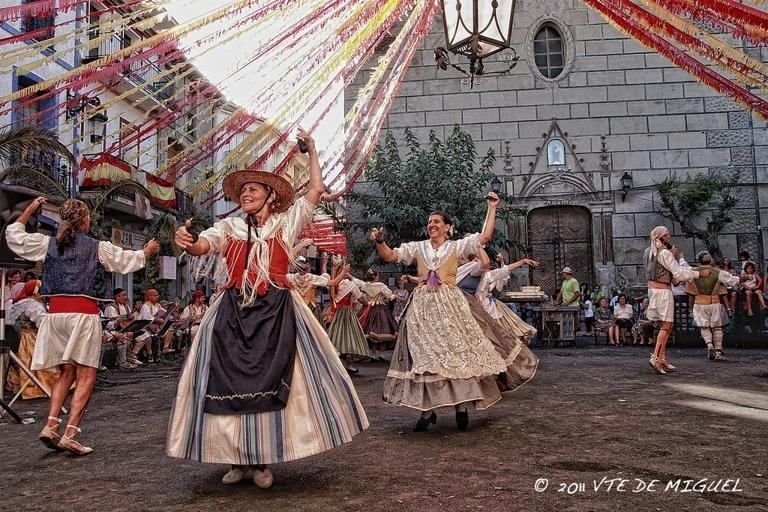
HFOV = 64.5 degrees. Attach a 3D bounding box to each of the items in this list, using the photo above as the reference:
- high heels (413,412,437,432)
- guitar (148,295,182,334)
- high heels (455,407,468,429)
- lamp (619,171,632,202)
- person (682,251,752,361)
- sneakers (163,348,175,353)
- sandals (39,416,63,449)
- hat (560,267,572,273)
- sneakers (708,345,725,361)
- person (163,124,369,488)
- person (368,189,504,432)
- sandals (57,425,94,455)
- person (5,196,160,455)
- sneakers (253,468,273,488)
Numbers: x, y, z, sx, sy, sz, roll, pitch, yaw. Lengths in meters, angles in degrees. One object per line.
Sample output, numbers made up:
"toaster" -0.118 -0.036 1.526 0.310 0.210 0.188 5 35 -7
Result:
"high heels" 0.451 1.755 6.454 0.120 0.134 0.339 -14 -12 30
"guitar" -4.788 1.346 13.438 0.457 0.969 0.163 33 -3 17
"high heels" 0.815 1.709 6.400 0.134 0.153 0.392 -1 -18 5
"lamp" 6.971 -2.022 17.470 0.329 0.871 0.507 -1 -5 22
"person" 6.363 0.936 11.670 1.041 2.045 1.035 -1 -2 16
"sneakers" -4.971 2.177 13.899 0.290 0.116 0.180 -10 -9 24
"sandals" -3.212 1.726 5.916 0.102 0.188 0.261 22 -38 -3
"hat" 4.725 0.366 15.836 0.293 0.154 0.227 10 6 23
"sneakers" 6.226 1.835 11.362 0.175 0.216 0.519 -6 -18 28
"person" -0.984 0.298 5.049 1.463 2.702 0.504 1 -4 -4
"person" 0.619 0.569 6.652 1.349 2.540 0.853 0 -4 7
"sandals" -3.003 1.768 5.895 0.365 0.289 0.252 1 -4 0
"person" -3.141 0.628 6.118 1.524 2.593 0.589 -1 -5 26
"sneakers" -0.992 1.779 4.906 0.186 0.150 0.136 0 -4 9
